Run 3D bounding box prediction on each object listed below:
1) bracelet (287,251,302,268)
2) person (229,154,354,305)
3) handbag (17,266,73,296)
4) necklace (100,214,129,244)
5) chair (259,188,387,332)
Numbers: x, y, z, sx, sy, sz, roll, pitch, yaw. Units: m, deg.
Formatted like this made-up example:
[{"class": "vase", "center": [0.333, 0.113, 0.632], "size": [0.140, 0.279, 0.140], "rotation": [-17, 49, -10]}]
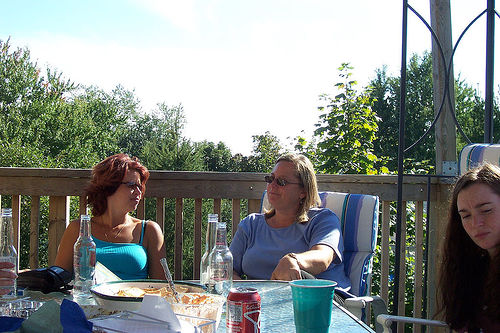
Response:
[{"class": "bracelet", "center": [0.308, 0.644, 3.501], "size": [0.091, 0.076, 0.095], "rotation": [2, 1, 16]}, {"class": "person", "center": [0.323, 0.518, 4.197], "size": [0.809, 1.155, 1.012], "rotation": [-6, -24, 14]}, {"class": "handbag", "center": [-1.344, 0.726, 3.256], "size": [0.235, 0.119, 0.182], "rotation": [-1, -6, 12]}, {"class": "necklace", "center": [-1.108, 0.510, 4.031], "size": [0.189, 0.180, 0.101], "rotation": [1, -5, -10]}, {"class": "chair", "center": [0.579, 0.612, 3.984], "size": [0.633, 1.080, 0.864], "rotation": [-1, -14, 19]}]
